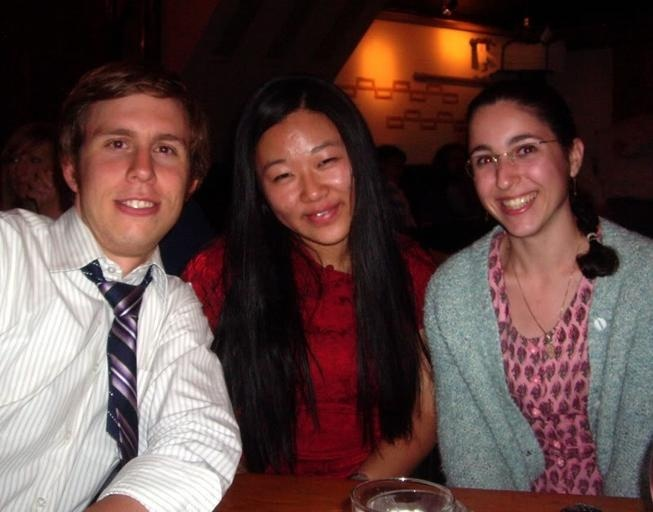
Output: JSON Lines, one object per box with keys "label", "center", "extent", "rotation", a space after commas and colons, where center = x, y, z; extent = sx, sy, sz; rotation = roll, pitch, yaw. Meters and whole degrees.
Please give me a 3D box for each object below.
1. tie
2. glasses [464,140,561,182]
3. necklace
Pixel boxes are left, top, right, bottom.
{"label": "tie", "center": [-0.686, 0.329, 1.829], "extent": [0.195, 0.616, 0.231], "rotation": [0, 2, -21]}
{"label": "glasses", "center": [0.768, -0.401, 2.313], "extent": [0.344, 0.150, 0.091], "rotation": [2, 2, 18]}
{"label": "necklace", "center": [0.885, 0.202, 2.394], "extent": [0.243, 0.427, 0.103], "rotation": [4, -26, 8]}
